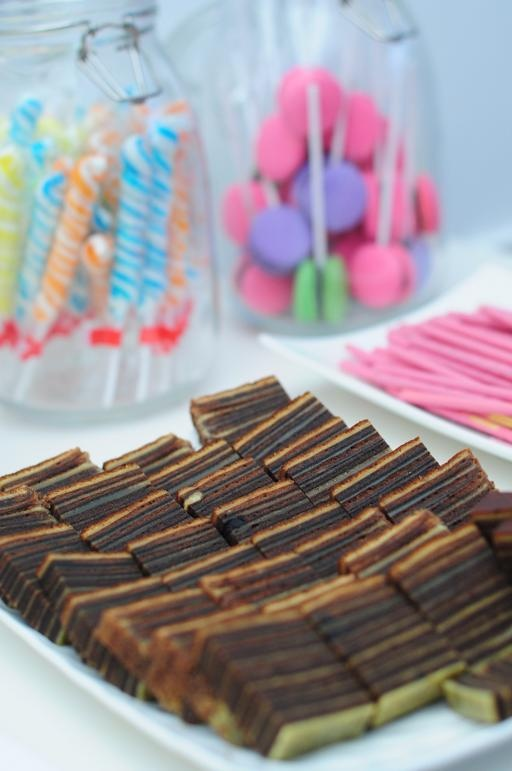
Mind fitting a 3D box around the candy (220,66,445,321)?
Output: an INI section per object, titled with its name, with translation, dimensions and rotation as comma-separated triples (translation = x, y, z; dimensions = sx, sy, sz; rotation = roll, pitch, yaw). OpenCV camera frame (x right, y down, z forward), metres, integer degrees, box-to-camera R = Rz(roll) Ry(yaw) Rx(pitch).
[candy]
translation = 0.098, -0.223, 0.875
dimensions = 0.234, 0.291, 0.102
rotation = -4, 11, 1
